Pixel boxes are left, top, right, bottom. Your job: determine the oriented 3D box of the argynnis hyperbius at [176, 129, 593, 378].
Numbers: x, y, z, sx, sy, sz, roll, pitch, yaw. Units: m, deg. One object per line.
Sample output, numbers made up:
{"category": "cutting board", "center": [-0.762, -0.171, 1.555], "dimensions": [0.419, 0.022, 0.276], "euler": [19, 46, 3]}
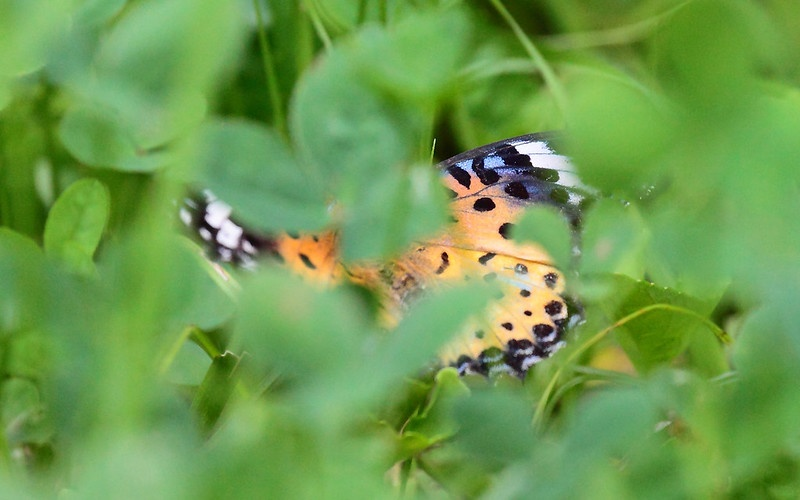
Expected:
{"category": "argynnis hyperbius", "center": [0.059, 0.087, 1.113], "dimensions": [0.519, 0.220, 0.283], "euler": [0, 70, 8]}
